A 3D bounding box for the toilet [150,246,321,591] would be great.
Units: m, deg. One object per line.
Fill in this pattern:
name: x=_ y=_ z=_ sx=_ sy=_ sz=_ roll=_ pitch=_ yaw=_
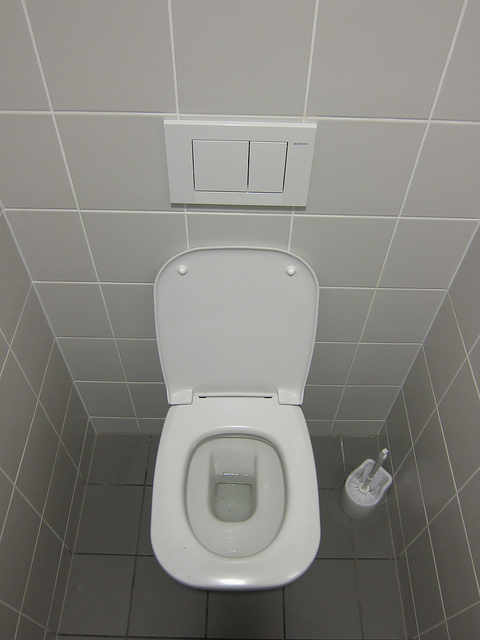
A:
toilet: x=-0.011 y=0.299 z=1.014 sx=0.378 sy=0.660 sz=0.540 roll=1 pitch=50 yaw=-1
